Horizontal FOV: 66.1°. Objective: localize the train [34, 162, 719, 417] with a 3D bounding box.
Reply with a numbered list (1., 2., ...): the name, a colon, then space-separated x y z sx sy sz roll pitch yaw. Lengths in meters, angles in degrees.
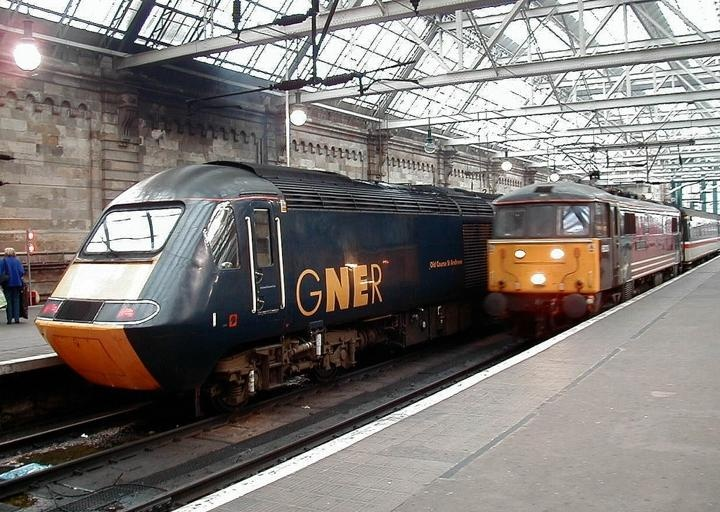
1. train: 5.485 0.249 19.472 4.375 4.518 29.344 -1 0 40
